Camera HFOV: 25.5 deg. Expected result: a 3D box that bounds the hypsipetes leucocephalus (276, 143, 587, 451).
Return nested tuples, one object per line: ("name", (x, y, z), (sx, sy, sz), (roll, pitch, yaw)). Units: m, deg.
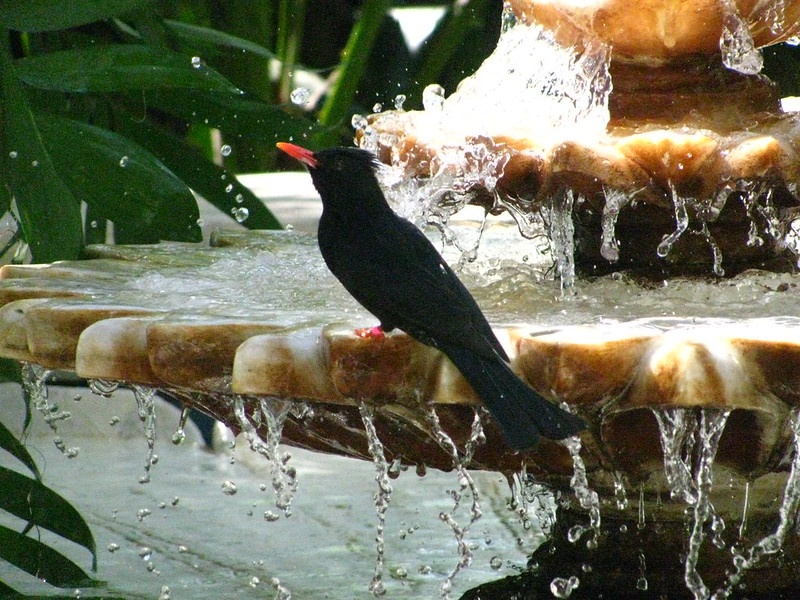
("hypsipetes leucocephalus", (0.053, -0.028, 4.928), (0.413, 0.737, 0.915), (-8, 15, -33))
